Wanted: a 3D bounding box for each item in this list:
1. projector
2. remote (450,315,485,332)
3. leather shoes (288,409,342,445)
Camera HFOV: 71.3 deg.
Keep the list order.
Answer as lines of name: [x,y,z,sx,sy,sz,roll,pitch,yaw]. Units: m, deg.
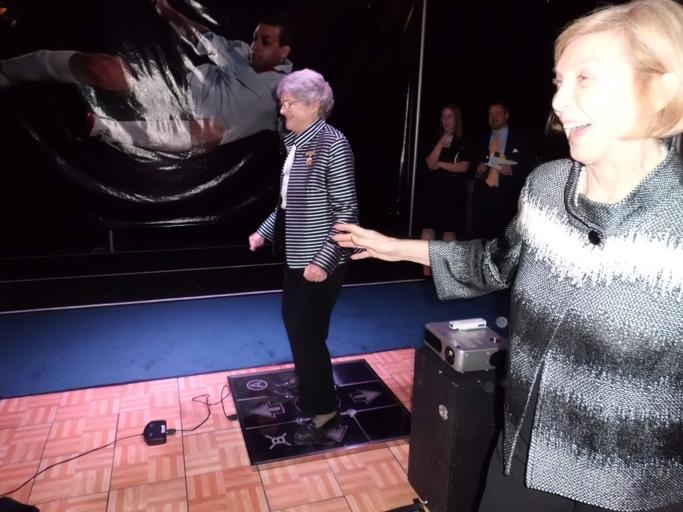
projector: [0.623,0.423,2.356,0.284,0.123,0.406,-1,10,-7]
remote: [0.628,0.336,2.383,0.134,0.030,0.075,-2,5,-10]
leather shoes: [-0.147,1.025,2.853,0.262,0.057,0.147,-22,56,-21]
